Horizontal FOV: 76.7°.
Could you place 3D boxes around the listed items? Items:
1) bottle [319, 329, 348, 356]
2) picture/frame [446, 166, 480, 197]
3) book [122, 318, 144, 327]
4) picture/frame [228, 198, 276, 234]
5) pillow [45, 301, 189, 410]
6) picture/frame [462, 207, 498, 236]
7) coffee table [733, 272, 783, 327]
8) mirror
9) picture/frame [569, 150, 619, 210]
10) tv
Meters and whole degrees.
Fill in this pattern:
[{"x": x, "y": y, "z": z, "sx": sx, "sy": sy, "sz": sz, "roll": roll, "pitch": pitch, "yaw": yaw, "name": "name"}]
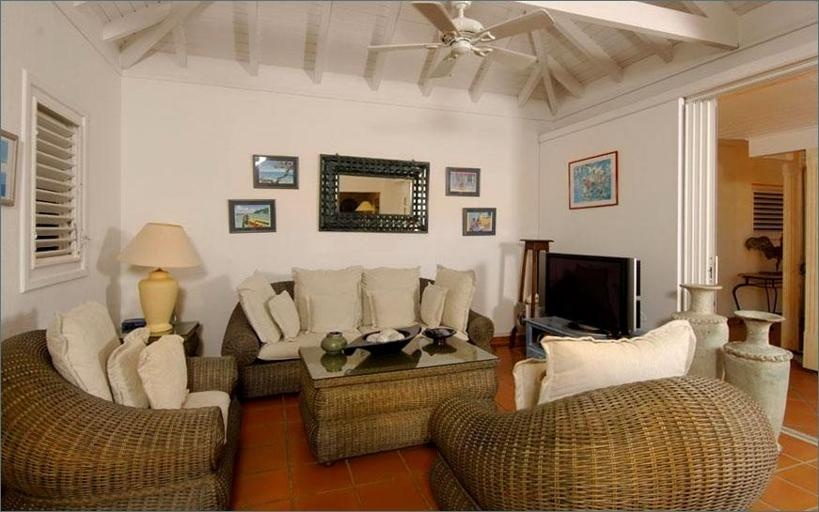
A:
[{"x": -0.710, "y": 0.780, "z": 4.764, "sx": 0.221, "sy": 0.146, "sz": 0.217, "roll": 2, "pitch": -3, "yaw": 0, "name": "bottle"}, {"x": 0.679, "y": -0.987, "z": 6.839, "sx": 0.468, "sy": 0.346, "sz": 0.027, "roll": 0, "pitch": 0, "yaw": -23, "name": "picture/frame"}, {"x": -2.851, "y": 0.688, "z": 5.348, "sx": 0.156, "sy": 0.032, "sz": 0.143, "roll": 1, "pitch": 3, "yaw": -8, "name": "book"}, {"x": -1.880, "y": -0.481, "z": 6.035, "sx": 0.465, "sy": 0.351, "sz": 0.032, "roll": 0, "pitch": -1, "yaw": -18, "name": "picture/frame"}, {"x": -2.155, "y": 0.782, "z": 3.969, "sx": 0.897, "sy": 0.562, "sz": 0.892, "roll": 20, "pitch": 5, "yaw": -8, "name": "pillow"}, {"x": 0.918, "y": -0.467, "z": 6.921, "sx": 0.442, "sy": 0.282, "sz": 0.016, "roll": 0, "pitch": 0, "yaw": -21, "name": "picture/frame"}, {"x": 5.086, "y": 0.582, "z": 7.627, "sx": 0.877, "sy": 0.646, "sz": 0.663, "roll": -1, "pitch": 6, "yaw": -16, "name": "coffee table"}, {"x": -0.512, "y": -0.780, "z": 6.427, "sx": 1.128, "sy": 0.726, "sz": 0.077, "roll": 2, "pitch": -3, "yaw": -22, "name": "mirror"}, {"x": 2.277, "y": -0.935, "z": 6.323, "sx": 0.035, "sy": 0.674, "sz": 0.855, "roll": 2, "pitch": -2, "yaw": -26, "name": "picture/frame"}, {"x": 1.933, "y": 0.418, "z": 5.572, "sx": 0.301, "sy": 0.647, "sz": 0.986, "roll": 2, "pitch": -3, "yaw": -31, "name": "tv"}]
